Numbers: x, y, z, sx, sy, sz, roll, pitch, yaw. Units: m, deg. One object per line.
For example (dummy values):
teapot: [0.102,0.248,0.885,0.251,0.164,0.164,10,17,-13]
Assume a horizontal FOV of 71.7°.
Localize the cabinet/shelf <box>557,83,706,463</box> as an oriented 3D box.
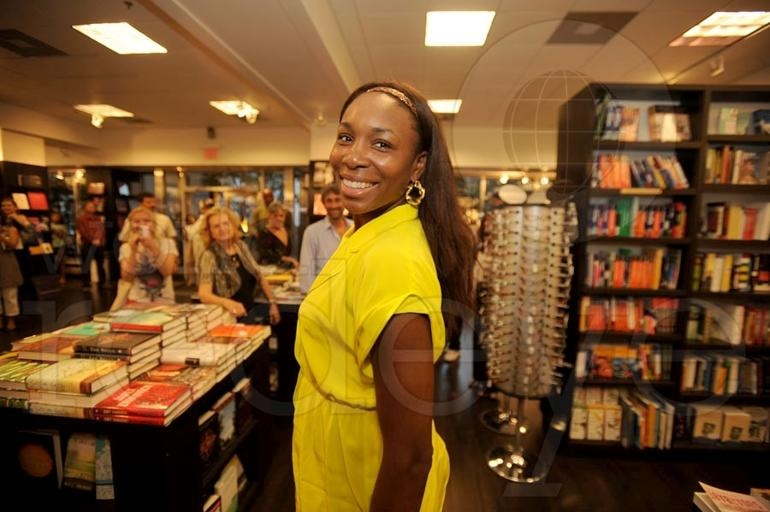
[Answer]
cabinet/shelf: [0.948,0.078,2.129,0.726,1.468,0.232,-2,5,-16]
